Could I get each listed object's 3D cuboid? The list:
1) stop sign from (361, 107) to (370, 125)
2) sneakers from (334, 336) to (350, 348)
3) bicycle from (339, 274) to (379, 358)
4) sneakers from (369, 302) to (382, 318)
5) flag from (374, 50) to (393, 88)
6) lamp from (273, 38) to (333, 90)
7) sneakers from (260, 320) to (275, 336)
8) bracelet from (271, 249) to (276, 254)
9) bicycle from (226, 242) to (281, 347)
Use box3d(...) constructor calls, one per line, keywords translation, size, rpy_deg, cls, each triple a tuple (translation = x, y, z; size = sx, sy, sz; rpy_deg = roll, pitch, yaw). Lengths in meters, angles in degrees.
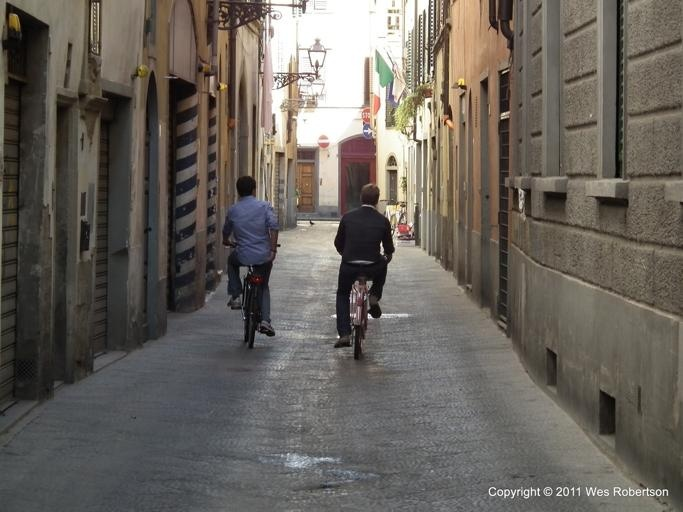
box3d(translation=(1.803, -10.491, 50.401), size=(0.112, 1.471, 0.986), rpy_deg=(-4, 9, -30), cls="stop sign")
box3d(translation=(-0.009, 1.123, 8.905), size=(0.093, 0.137, 0.254), rpy_deg=(1, 1, -29), cls="sneakers")
box3d(translation=(0.240, 0.792, 9.112), size=(0.275, 1.050, 0.776), rpy_deg=(0, 3, 8), cls="bicycle")
box3d(translation=(0.463, 0.753, 9.358), size=(0.124, 0.275, 0.227), rpy_deg=(0, -1, 7), cls="sneakers")
box3d(translation=(2.288, -10.056, 36.007), size=(0.951, 1.946, 2.238), rpy_deg=(0, 3, 3), cls="flag")
box3d(translation=(-1.768, -8.189, 28.673), size=(2.107, 3.005, 1.110), rpy_deg=(-2, 45, -16), cls="lamp")
box3d(translation=(-1.032, 1.019, 9.523), size=(0.109, 0.152, 0.298), rpy_deg=(-8, -18, 19), cls="sneakers")
box3d(translation=(-0.994, -0.096, 9.874), size=(0.043, 0.076, 0.055), rpy_deg=(-7, -19, 26), cls="bracelet")
box3d(translation=(-1.270, 0.633, 10.090), size=(0.573, 1.031, 1.415), rpy_deg=(0, 7, -2), cls="bicycle")
